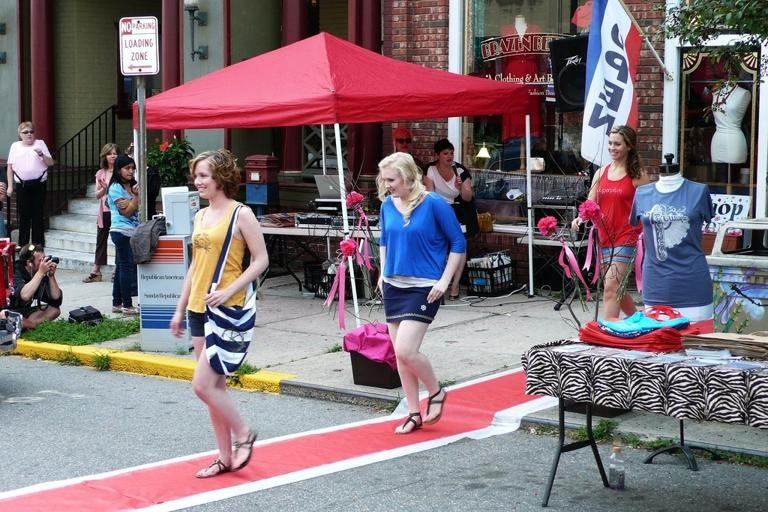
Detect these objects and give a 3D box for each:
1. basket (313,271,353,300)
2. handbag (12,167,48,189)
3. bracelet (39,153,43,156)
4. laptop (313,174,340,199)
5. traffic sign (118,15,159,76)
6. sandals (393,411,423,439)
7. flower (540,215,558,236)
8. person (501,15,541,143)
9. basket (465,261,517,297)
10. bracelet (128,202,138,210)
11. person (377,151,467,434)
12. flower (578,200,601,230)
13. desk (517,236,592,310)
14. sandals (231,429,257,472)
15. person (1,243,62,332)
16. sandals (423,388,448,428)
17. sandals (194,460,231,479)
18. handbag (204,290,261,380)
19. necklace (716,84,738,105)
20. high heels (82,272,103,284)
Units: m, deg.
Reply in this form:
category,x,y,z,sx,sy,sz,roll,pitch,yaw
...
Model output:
category,x,y,z,sx,sy,sz,roll,pitch,yaw
basket,-0.820,0.431,12.160,0.500,0.308,0.507,2,1,29
handbag,-6.743,-1.531,14.895,0.590,0.380,0.465,-7,11,-28
bracelet,-6.467,-1.933,14.731,0.058,0.083,0.090,-5,12,-29
laptop,-0.858,-1.075,12.018,0.476,0.336,0.353,6,30,20
traffic sign,-2.956,-2.545,9.451,0.572,0.685,0.229,1,10,16
sandals,0.231,1.482,6.961,0.116,0.125,0.322,-1,-2,40
flower,1.778,-0.314,8.484,0.165,0.239,0.403,0,10,9
person,2.243,-2.899,12.694,0.699,2.030,0.316,2,10,23
basket,1.680,0.171,11.991,0.814,0.541,0.465,-12,15,-38
bracelet,-3.569,-0.718,11.142,0.100,0.099,0.097,2,12,17
person,0.319,0.316,6.901,0.780,2.434,0.560,0,10,9
flower,2.148,-0.423,8.041,0.233,0.243,0.244,2,6,21
desk,2.500,0.211,11.804,0.984,0.970,0.989,1,0,29
sandals,-1.091,1.532,6.177,0.142,0.360,0.105,21,4,26
person,-4.675,0.400,10.425,0.642,1.106,0.925,-6,11,-23
sandals,0.448,1.351,7.033,0.151,0.381,0.140,24,10,33
sandals,-1.334,1.662,6.093,0.217,0.078,0.130,1,1,-31
handbag,-1.172,0.583,6.005,0.404,0.645,0.236,-4,10,-14
necklace,4.820,-2.267,11.006,0.338,0.317,0.261,2,11,22
high heels,-5.225,0.389,13.953,0.391,0.165,0.142,1,1,-11
